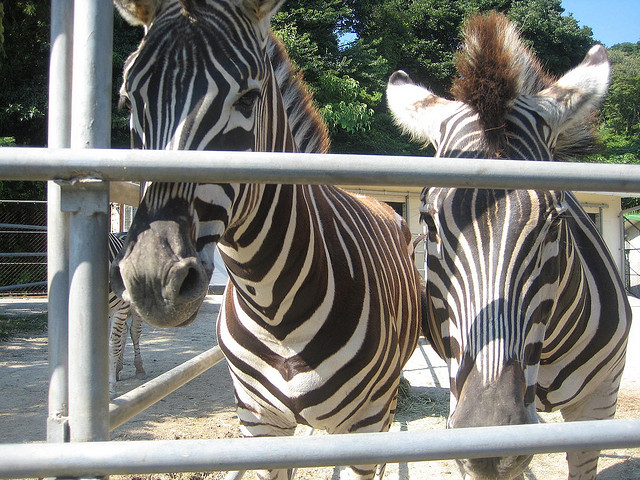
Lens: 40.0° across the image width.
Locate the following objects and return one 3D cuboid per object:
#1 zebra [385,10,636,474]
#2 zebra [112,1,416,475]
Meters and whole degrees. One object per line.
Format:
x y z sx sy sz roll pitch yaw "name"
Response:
1.314 0.102 5.597 1.329 3.047 1.456 1 10 -5 "zebra"
-0.299 0.137 5.569 2.142 3.179 1.031 -7 13 -39 "zebra"
